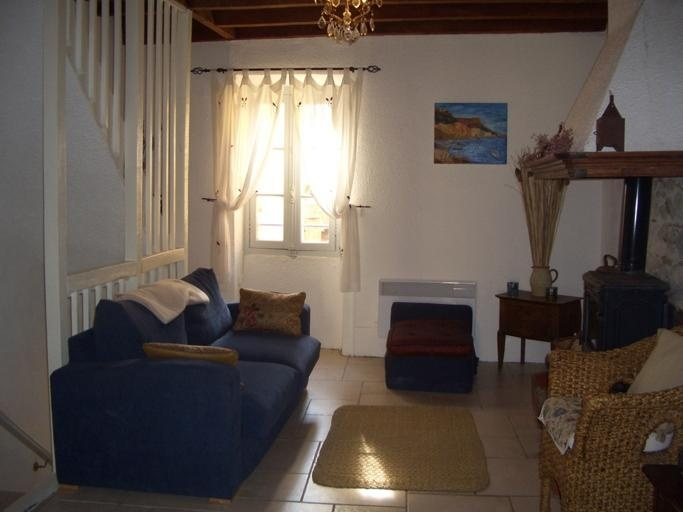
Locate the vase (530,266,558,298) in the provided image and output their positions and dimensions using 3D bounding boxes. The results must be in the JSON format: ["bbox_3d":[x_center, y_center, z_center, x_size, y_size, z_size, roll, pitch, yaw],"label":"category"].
[{"bbox_3d":[1.926,0.243,5.397,0.303,0.334,0.240,2,-3,-3],"label":"vase"}]

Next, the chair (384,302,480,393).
[{"bbox_3d":[0.850,0.818,5.290,0.815,0.591,1.010,2,11,9],"label":"chair"}]

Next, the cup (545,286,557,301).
[{"bbox_3d":[1.961,0.352,5.259,0.094,0.138,0.131,0,0,38],"label":"cup"}]

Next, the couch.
[{"bbox_3d":[-1.026,0.471,3.702,0.984,0.931,1.819,0,5,3],"label":"couch"}]

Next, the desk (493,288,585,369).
[{"bbox_3d":[1.910,0.571,5.390,0.557,0.820,0.755,-2,3,-42],"label":"desk"}]

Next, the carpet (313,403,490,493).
[{"bbox_3d":[0.420,1.338,4.018,1.151,0.050,1.120,1,11,4],"label":"carpet"}]
